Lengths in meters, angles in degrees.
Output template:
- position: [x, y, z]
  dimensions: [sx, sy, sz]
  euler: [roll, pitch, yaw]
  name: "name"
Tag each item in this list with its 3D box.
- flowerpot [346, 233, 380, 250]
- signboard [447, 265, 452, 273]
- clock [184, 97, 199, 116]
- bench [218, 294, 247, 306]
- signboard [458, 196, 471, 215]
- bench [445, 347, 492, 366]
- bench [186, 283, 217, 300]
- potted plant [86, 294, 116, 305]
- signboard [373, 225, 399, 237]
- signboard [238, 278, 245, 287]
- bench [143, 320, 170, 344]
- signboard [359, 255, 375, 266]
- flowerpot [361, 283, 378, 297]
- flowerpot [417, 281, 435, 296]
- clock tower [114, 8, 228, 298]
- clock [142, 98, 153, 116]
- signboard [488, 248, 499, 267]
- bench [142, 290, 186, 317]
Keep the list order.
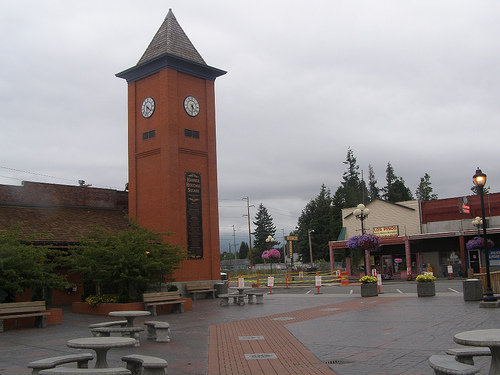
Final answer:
- position: [7.518, 3.568, 31.452]
  dimensions: [1.394, 0.850, 1.286]
  euler: [0, -2, -13]
  name: "flowerpot"
- position: [19.236, 7.947, 46.287]
  dimensions: [0.342, 0.661, 2.030]
  euler: [-6, -11, 21]
  name: "signboard"
- position: [-4.180, -5.686, 33.808]
  dimensions: [0.077, 1.117, 1.139]
  euler: [-12, -48, 35]
  name: "clock"
- position: [-0.999, 6.337, 27.003]
  dimensions: [1.311, 0.559, 1.612]
  euler: [-2, -10, -1]
  name: "bench"
- position: [22.464, 1.954, 50.549]
  dimensions: [1.533, 1.861, 0.714]
  euler: [7, -13, -40]
  name: "signboard"
- position: [4.256, 3.257, 9.376]
  dimensions: [0.581, 0.201, 0.549]
  euler: [6, -11, -41]
  name: "bench"
- position: [-3.246, 6.825, 31.490]
  dimensions: [0.932, 1.010, 2.331]
  euler: [-11, -14, 42]
  name: "bench"
- position: [-7.420, 5.530, 23.599]
  dimensions: [1.429, 0.464, 0.463]
  euler: [-5, -10, 14]
  name: "potted plant"
- position: [15.379, 4.979, 54.451]
  dimensions: [2.675, 1.273, 1.233]
  euler: [-6, -11, 22]
  name: "signboard"
- position: [-0.632, 6.562, 33.021]
  dimensions: [0.288, 0.578, 0.706]
  euler: [-1, -10, -8]
  name: "signboard"
- position: [-3.038, 4.742, 15.716]
  dimensions: [0.637, 0.624, 1.236]
  euler: [4, -12, -32]
  name: "bench"
- position: [12.558, 7.939, 52.055]
  dimensions: [0.525, 1.103, 3.640]
  euler: [-8, -12, 32]
  name: "signboard"
- position: [6.870, 5.959, 27.839]
  dimensions: [0.664, 0.771, 1.191]
  euler: [0, -3, -20]
  name: "flowerpot"
- position: [9.514, 5.529, 26.027]
  dimensions: [0.836, 0.738, 0.424]
  euler: [-5, -10, 18]
  name: "flowerpot"
- position: [-5.248, -3.201, 33.451]
  dimensions: [6.072, 21.179, 3.011]
  euler: [-1, -10, -5]
  name: "clock tower"
- position: [-7.235, -5.650, 33.767]
  dimensions: [1.200, 1.268, 0.160]
  euler: [-12, -14, 44]
  name: "clock"
- position: [23.542, 6.792, 46.428]
  dimensions: [0.534, 1.772, 0.967]
  euler: [7, -14, -43]
  name: "signboard"
- position: [-4.123, 5.560, 22.966]
  dimensions: [0.803, 0.913, 2.152]
  euler: [-5, -10, 39]
  name: "bench"
